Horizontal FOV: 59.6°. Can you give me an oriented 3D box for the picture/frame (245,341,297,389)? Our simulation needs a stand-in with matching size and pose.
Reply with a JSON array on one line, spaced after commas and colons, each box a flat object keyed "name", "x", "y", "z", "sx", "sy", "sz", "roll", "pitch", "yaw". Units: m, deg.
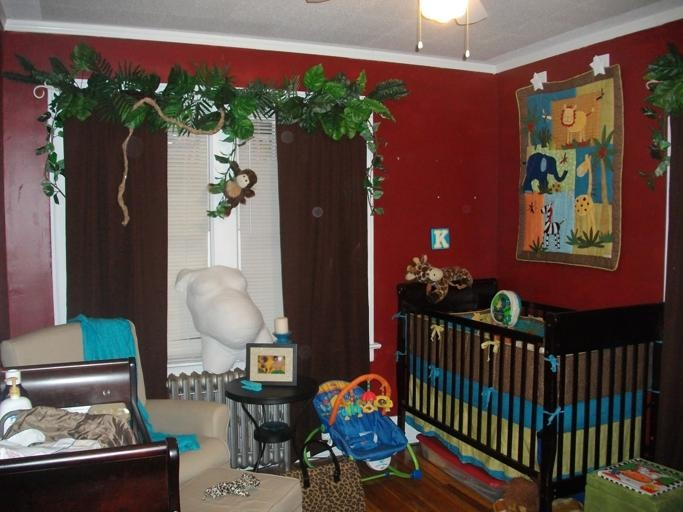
[{"name": "picture/frame", "x": -0.467, "y": 0.728, "z": 3.949, "sx": 0.263, "sy": 0.236, "sz": 0.021, "roll": 0, "pitch": -3, "yaw": -3}]

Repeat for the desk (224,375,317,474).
[{"name": "desk", "x": -0.467, "y": 1.141, "z": 4.069, "sx": 0.663, "sy": 0.617, "sz": 0.632, "roll": -1, "pitch": 6, "yaw": -3}]

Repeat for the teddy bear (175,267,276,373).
[{"name": "teddy bear", "x": -0.808, "y": 0.404, "z": 4.322, "sx": 0.587, "sy": 0.774, "sz": 0.712, "roll": -21, "pitch": 18, "yaw": -34}]

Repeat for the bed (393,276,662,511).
[{"name": "bed", "x": 1.260, "y": 0.475, "z": 4.147, "sx": 1.142, "sy": 1.327, "sz": 1.683, "roll": -5, "pitch": 8, "yaw": -30}]

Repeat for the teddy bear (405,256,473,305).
[{"name": "teddy bear", "x": 0.775, "y": 0.135, "z": 4.728, "sx": 0.440, "sy": 0.202, "sz": 0.366, "roll": -12, "pitch": 38, "yaw": -11}]
